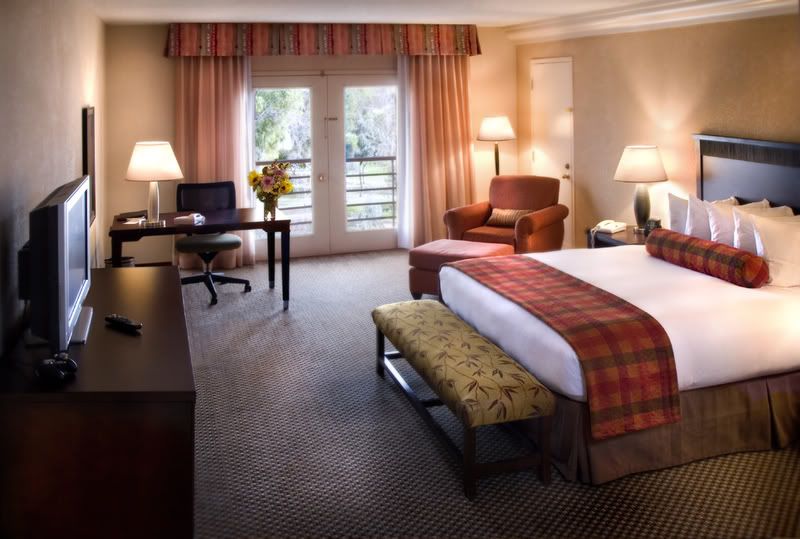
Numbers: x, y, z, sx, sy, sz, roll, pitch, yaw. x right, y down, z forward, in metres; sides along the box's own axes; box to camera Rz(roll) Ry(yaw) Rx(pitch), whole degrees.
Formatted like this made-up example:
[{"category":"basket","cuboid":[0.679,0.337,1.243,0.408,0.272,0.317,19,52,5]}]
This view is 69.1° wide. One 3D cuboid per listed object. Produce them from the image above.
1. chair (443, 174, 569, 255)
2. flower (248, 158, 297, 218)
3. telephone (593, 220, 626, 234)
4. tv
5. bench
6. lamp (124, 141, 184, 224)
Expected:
[{"category":"chair","cuboid":[1.240,-0.663,6.756,1.111,1.039,1.080,3,5,38]},{"category":"flower","cuboid":[-1.345,-0.852,6.108,0.420,0.548,0.410,-9,13,-44]},{"category":"telephone","cuboid":[2.144,-0.441,6.020,0.208,0.068,0.231,3,12,44]},{"category":"tv","cuboid":[-1.660,-0.010,2.795,0.257,0.663,0.803,4,12,-13]},{"category":"bench","cuboid":[0.378,0.794,3.754,0.539,0.731,1.245,-10,16,-24]},{"category":"lamp","cuboid":[-2.493,-0.861,5.877,0.584,0.755,0.587,10,11,39]}]
